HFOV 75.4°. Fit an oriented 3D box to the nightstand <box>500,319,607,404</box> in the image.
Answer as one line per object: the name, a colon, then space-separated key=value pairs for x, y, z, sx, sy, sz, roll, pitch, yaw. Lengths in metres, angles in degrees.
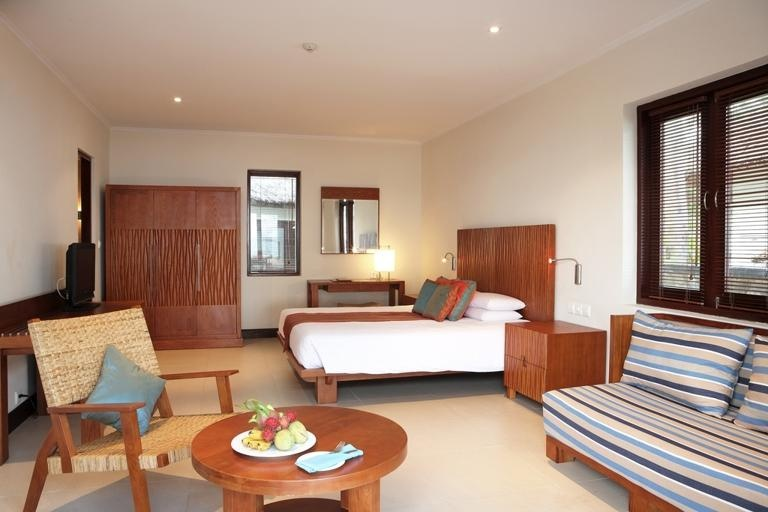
nightstand: x=1.827 y=0.995 z=5.259 sx=0.888 sy=0.874 sz=0.842 roll=0 pitch=1 yaw=-15

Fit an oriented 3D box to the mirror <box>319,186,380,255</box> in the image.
mirror: x=-0.641 y=-0.634 z=8.537 sx=1.259 sy=1.344 sz=0.107 roll=0 pitch=2 yaw=-18

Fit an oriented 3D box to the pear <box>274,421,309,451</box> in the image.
pear: x=-0.585 y=1.141 z=3.172 sx=0.121 sy=0.103 sz=0.202 roll=17 pitch=21 yaw=32

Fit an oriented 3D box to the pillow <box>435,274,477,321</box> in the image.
pillow: x=0.914 y=0.535 z=6.080 sx=0.141 sy=0.452 sz=0.461 roll=33 pitch=-15 yaw=-26

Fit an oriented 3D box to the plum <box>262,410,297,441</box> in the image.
plum: x=-0.689 y=1.069 z=3.187 sx=0.158 sy=0.110 sz=0.202 roll=4 pitch=6 yaw=-24

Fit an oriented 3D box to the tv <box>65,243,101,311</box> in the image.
tv: x=-3.387 y=0.239 z=5.544 sx=0.264 sy=0.748 sz=0.778 roll=-1 pitch=5 yaw=-23

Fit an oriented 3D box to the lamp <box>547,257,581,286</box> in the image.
lamp: x=2.020 y=0.164 z=5.511 sx=0.083 sy=0.299 sz=0.415 roll=0 pitch=2 yaw=-28

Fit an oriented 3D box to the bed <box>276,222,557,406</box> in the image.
bed: x=0.501 y=0.745 z=6.191 sx=2.468 sy=1.439 sz=2.404 roll=-1 pitch=2 yaw=-12

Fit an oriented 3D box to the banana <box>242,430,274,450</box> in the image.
banana: x=-0.800 y=1.163 z=3.149 sx=0.131 sy=0.045 sz=0.129 roll=6 pitch=9 yaw=13

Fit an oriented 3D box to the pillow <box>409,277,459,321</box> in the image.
pillow: x=0.604 y=0.553 z=6.149 sx=0.340 sy=0.361 sz=0.866 roll=15 pitch=-1 yaw=-17

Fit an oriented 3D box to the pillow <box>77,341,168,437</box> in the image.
pillow: x=-1.946 y=1.005 z=3.719 sx=0.204 sy=0.634 sz=0.683 roll=-16 pitch=-45 yaw=36

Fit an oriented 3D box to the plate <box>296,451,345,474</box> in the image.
plate: x=-0.381 y=1.245 z=3.007 sx=0.238 sy=0.071 sz=0.219 roll=2 pitch=2 yaw=34
